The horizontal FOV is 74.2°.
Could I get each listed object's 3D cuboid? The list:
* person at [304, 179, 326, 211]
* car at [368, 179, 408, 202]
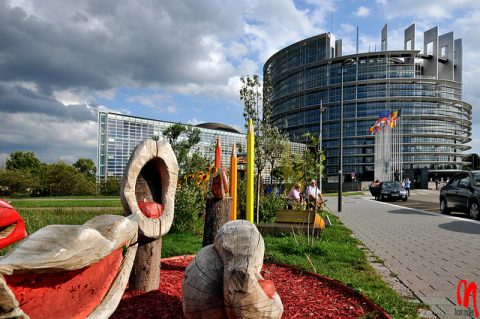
[{"bbox_3d":[2.876,1.384,12.295,0.605,1.310,0.690,0,0,-23],"label":"person"},{"bbox_3d":[11.788,2.492,25.284,1.764,1.613,3.825,2,-6,11],"label":"car"}]
